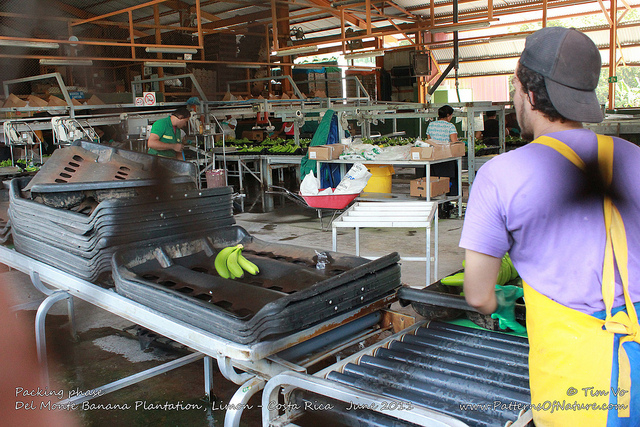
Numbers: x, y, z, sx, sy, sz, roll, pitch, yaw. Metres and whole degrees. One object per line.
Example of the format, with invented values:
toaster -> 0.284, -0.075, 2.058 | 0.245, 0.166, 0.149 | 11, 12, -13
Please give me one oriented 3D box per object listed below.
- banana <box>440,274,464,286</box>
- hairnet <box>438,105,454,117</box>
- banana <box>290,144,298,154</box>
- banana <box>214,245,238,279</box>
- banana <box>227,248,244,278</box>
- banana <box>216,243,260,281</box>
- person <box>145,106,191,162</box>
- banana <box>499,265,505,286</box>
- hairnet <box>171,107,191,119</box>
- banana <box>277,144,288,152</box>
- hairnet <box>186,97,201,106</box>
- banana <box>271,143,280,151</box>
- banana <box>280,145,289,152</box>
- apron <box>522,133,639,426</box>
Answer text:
banana -> 0.792, 0.394, 2.697 | 0.133, 0.065, 0.113 | 2, 14, 23
hairnet -> 2.045, -1.662, 7.311 | 0.197, 0.175, 0.220 | 7, 23, 23
banana -> -0.461, -1.145, 8.048 | 0.147, 0.121, 0.192 | 0, 13, 17
banana -> -0.663, 0.334, 3.069 | 0.200, 0.065, 0.305 | -13, 38, -2
banana -> -0.562, 0.334, 3.061 | 0.067, 0.078, 0.221 | 24, 33, -20
banana -> -0.590, 0.336, 3.073 | 0.249, 0.077, 0.270 | -24, 66, -23
person -> -1.980, -1.066, 5.988 | 0.405, 0.707, 0.578 | 6, 17, 36
banana -> 1.130, 0.386, 2.795 | 0.023, 0.109, 0.070 | 3, 15, 29
hairnet -> -1.837, -1.338, 5.962 | 0.196, 0.152, 0.179 | -7, 13, -14
banana -> -0.650, -1.178, 8.168 | 0.139, 0.086, 0.217 | 5, 15, 35
hairnet -> -2.445, -2.190, 8.727 | 0.318, 0.131, 0.193 | -4, 18, -11
banana -> -0.760, -1.238, 8.341 | 0.055, 0.045, 0.312 | -1, 20, 45
banana -> -0.620, -1.205, 8.197 | 0.043, 0.048, 0.260 | 24, 38, 9
apron -> 0.803, 0.326, 1.367 | 0.300, 0.754, 0.231 | -3, 14, 8
